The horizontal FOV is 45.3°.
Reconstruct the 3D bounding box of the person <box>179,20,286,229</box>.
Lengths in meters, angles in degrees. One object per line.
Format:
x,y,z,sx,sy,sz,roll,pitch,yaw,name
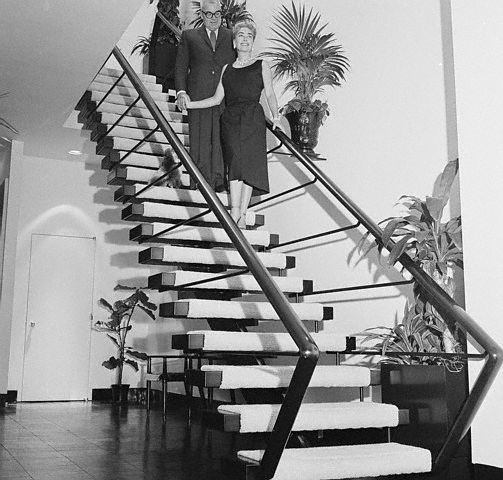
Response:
-0.151,-0.739,3.847,0.621,1.370,0.256,1,-16,0,person

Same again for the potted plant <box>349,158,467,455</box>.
0.807,0.218,3.157,0.565,1.386,0.869,-2,-12,19,potted plant

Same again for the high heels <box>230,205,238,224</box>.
-0.104,-0.155,3.724,0.054,0.123,0.134,2,-12,-1,high heels

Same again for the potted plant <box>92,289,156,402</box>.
-1.486,1.176,6.902,0.730,1.330,1.574,5,-12,-14,potted plant
